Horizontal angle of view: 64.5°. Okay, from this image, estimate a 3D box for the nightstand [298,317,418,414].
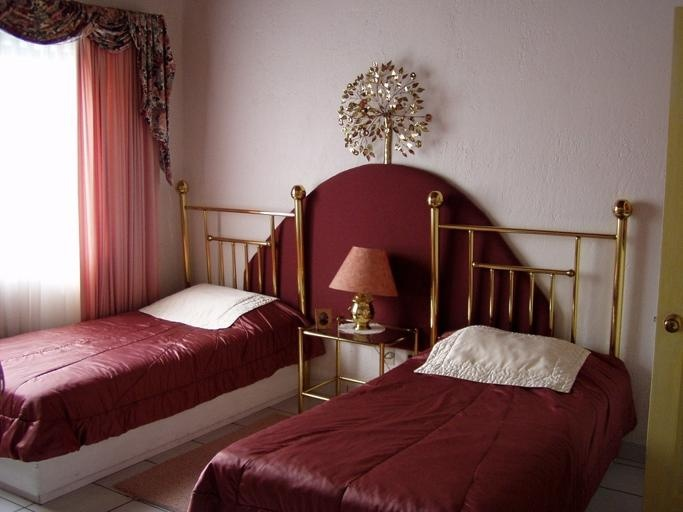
[{"bbox_3d":[0.108,0.593,3.712,0.761,0.893,0.581,3,4,39],"label":"nightstand"}]

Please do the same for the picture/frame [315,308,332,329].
[{"bbox_3d":[-0.121,0.425,3.682,0.112,0.144,0.018,6,0,-29],"label":"picture/frame"}]
